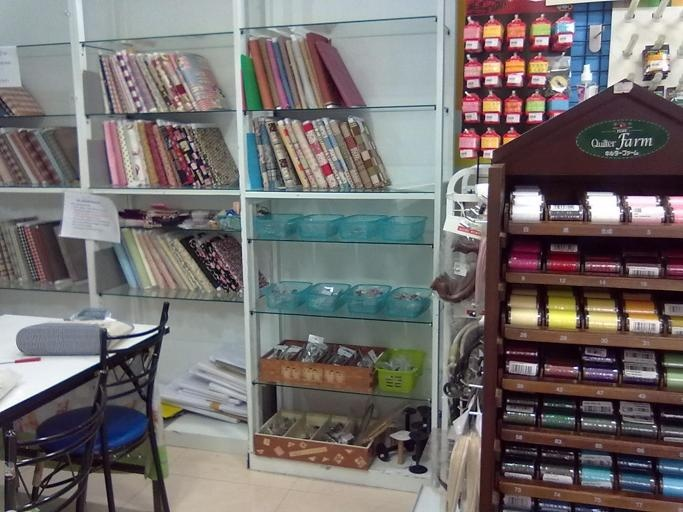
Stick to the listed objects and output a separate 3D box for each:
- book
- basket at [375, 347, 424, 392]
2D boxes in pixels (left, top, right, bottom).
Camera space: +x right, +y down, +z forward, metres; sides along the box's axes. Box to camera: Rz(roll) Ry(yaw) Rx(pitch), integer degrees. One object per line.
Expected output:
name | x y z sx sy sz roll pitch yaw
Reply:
book | -0.860 0.792 3.489 0.563 0.137 0.505 3 8 15
basket | 0.338 0.653 3.199 0.243 0.167 0.348 5 12 19
